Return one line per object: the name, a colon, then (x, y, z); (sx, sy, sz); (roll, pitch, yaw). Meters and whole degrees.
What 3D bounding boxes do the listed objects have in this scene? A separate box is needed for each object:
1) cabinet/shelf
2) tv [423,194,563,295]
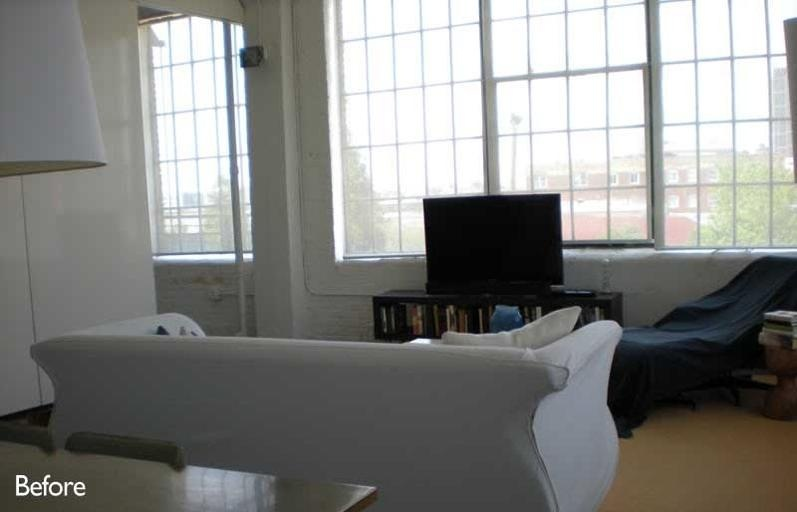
cabinet/shelf: (0.868, 0.633, 6.117); (2.500, 0.552, 0.537); (-3, 6, 37)
tv: (0.909, -0.118, 6.008); (1.319, 0.920, 0.664); (-1, 3, 10)
